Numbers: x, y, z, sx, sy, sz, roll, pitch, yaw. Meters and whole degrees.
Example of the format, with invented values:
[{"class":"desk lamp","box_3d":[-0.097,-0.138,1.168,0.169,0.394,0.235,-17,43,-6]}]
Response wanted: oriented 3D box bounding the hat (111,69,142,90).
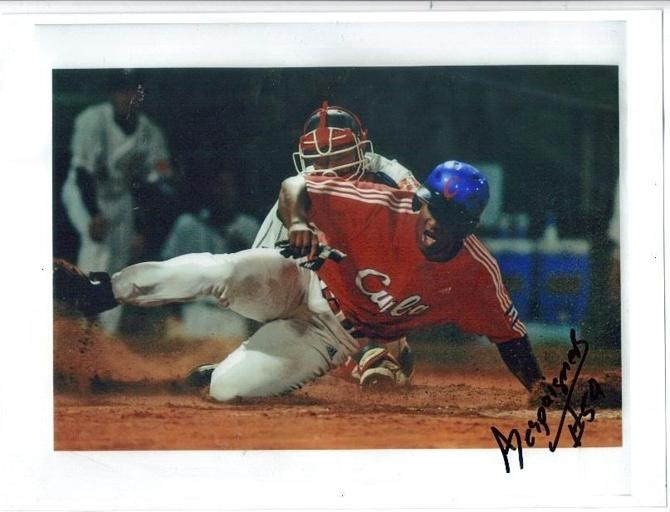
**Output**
[{"class":"hat","box_3d":[-1.728,-1.456,10.895,0.248,0.168,0.045,-3,6,-7]}]
